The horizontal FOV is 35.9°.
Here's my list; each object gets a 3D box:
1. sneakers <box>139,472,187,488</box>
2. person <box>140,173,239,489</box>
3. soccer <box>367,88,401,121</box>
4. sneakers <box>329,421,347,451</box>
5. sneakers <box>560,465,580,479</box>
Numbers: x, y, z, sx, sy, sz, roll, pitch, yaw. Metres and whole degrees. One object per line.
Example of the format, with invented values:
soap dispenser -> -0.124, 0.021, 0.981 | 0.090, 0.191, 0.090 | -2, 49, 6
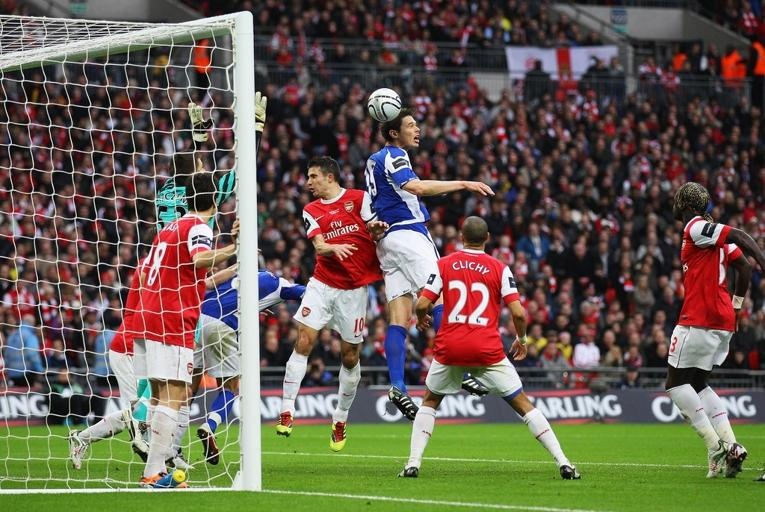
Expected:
sneakers -> -2.940, 3.025, 15.992 | 0.665, 0.304, 0.235 | 3, -6, -1
person -> -2.831, 0.986, 16.095 | 1.049, 3.817, 0.566 | 0, 0, -13
soccer -> 0.044, -2.365, 18.319 | 0.486, 0.517, 0.497 | -7, 22, -25
sneakers -> -0.704, 2.794, 18.235 | 0.204, 0.641, 0.260 | -1, 5, -17
sneakers -> 2.590, 3.013, 16.449 | 0.286, 0.207, 0.406 | -1, -1, 10
